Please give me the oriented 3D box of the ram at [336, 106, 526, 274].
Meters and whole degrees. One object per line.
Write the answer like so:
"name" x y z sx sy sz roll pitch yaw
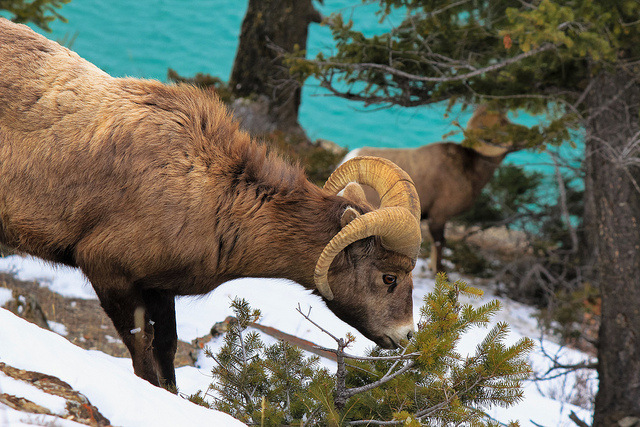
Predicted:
"ram" 2.480 -0.435 20.563 2.701 2.746 2.046 -8 15 -29
